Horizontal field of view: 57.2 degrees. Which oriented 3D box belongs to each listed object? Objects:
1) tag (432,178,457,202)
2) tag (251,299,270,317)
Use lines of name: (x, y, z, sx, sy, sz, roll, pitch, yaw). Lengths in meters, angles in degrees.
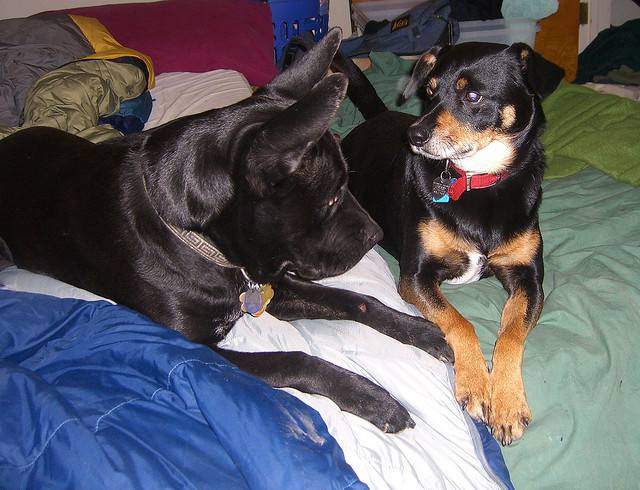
tag: (0.685, -0.302, 3.196, 0.124, 0.148, 0.017, 12, 4, 18)
tag: (-0.285, 0.324, 2.847, 0.085, 0.079, 0.019, -37, 81, -30)
